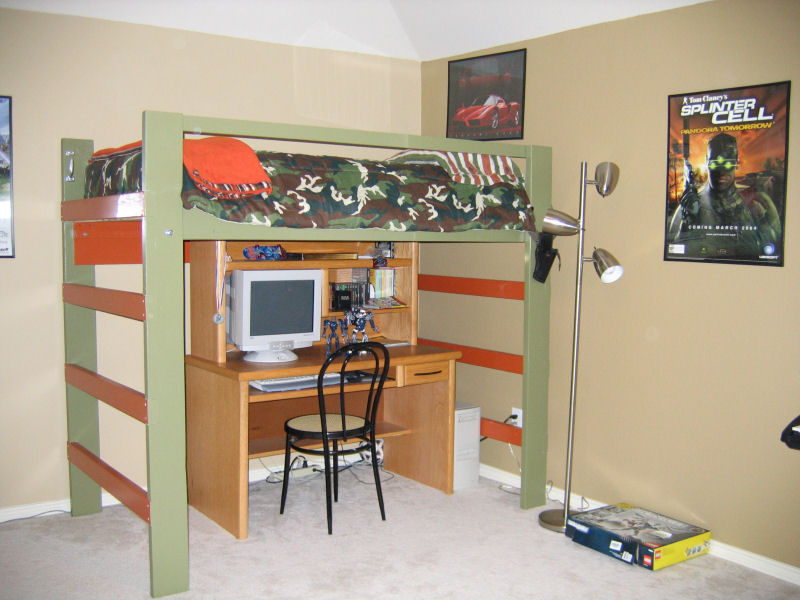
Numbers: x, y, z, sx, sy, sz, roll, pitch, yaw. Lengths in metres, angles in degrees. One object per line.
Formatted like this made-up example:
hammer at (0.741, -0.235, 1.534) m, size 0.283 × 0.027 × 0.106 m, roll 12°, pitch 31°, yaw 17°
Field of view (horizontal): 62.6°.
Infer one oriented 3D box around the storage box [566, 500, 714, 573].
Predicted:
storage box at (1.378, 1.351, 3.810) m, size 0.468 × 0.152 × 0.673 m, roll -8°, pitch 12°, yaw -43°

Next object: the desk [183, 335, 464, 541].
desk at (-0.488, 0.847, 4.409) m, size 1.594 × 0.967 × 0.856 m, roll 0°, pitch 1°, yaw -38°

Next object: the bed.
bed at (-0.449, 0.202, 3.956) m, size 3.115 × 2.405 × 1.305 m, roll -2°, pitch 9°, yaw -15°

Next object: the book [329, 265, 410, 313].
book at (-0.272, -0.064, 4.770) m, size 0.545 × 0.242 × 0.374 m, roll -7°, pitch 14°, yaw -24°
